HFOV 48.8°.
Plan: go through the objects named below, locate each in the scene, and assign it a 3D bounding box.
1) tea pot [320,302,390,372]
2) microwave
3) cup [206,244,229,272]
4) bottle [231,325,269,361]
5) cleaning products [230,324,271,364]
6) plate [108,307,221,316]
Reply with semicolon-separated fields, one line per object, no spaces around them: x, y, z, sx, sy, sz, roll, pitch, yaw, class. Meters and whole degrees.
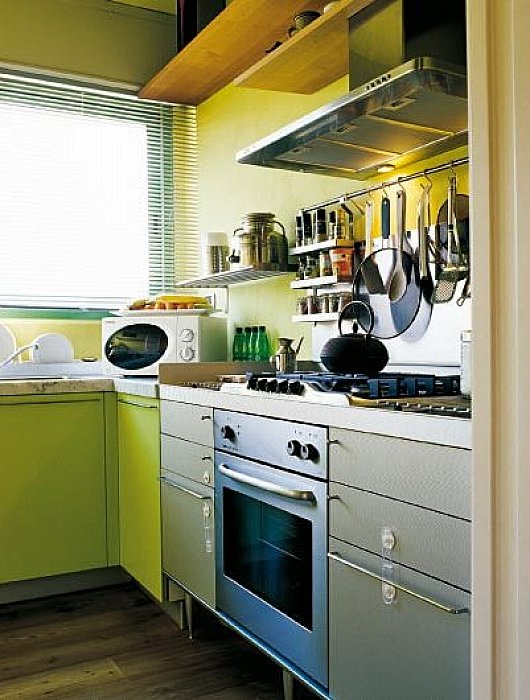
0.247;-0.057;1.642;0.218;0.236;0.203;1;3;0;tea pot
-0.443;-0.025;2.605;0.545;0.297;0.311;-1;-3;-5;microwave
-0.214;-0.433;2.824;0.135;0.138;0.056;1;-3;-38;cup
-0.062;-0.028;2.752;0.056;0.148;0.167;-2;1;-39;bottle
-0.059;-0.024;2.737;0.055;0.145;0.164;4;-6;-38;cleaning products
-0.450;-0.167;2.670;0.427;0.043;0.184;-1;-3;-6;plate
